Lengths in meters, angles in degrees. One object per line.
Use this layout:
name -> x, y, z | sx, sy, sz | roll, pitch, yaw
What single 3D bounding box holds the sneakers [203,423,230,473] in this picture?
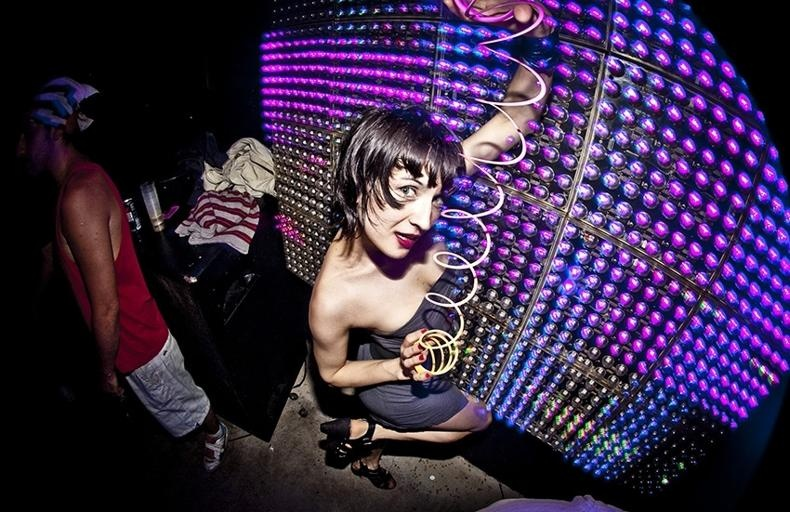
sneakers -> -1.488, 1.600, 4.448 | 0.150, 0.440, 0.185 | 4, -3, 15
